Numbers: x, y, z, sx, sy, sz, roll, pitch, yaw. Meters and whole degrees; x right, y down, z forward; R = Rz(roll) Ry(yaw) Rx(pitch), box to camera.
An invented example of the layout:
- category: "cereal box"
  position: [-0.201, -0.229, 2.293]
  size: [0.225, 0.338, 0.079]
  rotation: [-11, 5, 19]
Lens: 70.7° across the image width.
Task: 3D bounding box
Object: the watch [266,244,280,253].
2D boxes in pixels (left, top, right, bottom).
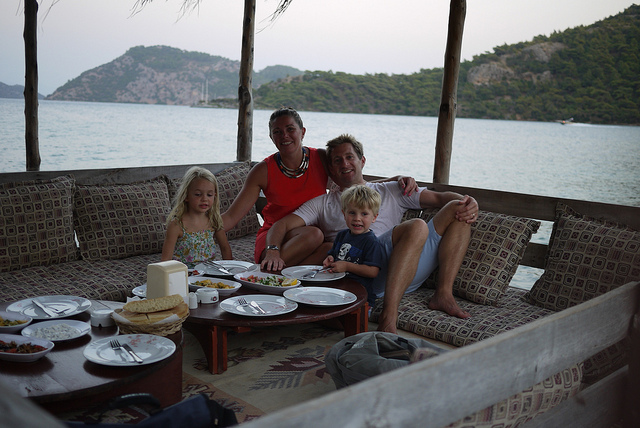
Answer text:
- category: "watch"
  position: [-0.326, 0.241, 3.099]
  size: [0.081, 0.042, 0.111]
  rotation: [1, 15, -10]

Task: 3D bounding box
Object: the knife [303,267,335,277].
- category: "knife"
  position: [-0.024, 0.345, 2.683]
  size: [0.056, 0.012, 0.214]
  rotation: [20, 16, 32]

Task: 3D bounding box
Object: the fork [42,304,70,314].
- category: "fork"
  position: [-1.182, 0.437, 2.051]
  size: [0.120, 0.018, 0.019]
  rotation: [3, 17, 30]

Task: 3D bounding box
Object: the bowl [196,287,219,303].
- category: "bowl"
  position: [-0.579, 0.426, 2.316]
  size: [0.106, 0.062, 0.060]
  rotation: [0, 16, -14]

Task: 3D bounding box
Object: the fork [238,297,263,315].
- category: "fork"
  position: [-0.347, 0.468, 2.241]
  size: [0.017, 0.017, 0.121]
  rotation: [-24, 34, -30]

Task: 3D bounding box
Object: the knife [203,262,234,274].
- category: "knife"
  position: [-0.607, 0.329, 2.685]
  size: [0.133, 0.013, 0.019]
  rotation: [23, 5, 30]

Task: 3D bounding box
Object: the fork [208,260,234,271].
- category: "fork"
  position: [-0.593, 0.320, 2.719]
  size: [0.165, 0.054, 0.012]
  rotation: [26, 23, -37]

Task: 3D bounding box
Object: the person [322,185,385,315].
- category: "person"
  position: [0.170, 0.241, 2.806]
  size: [0.386, 0.790, 0.373]
  rotation: [-1, -5, -3]

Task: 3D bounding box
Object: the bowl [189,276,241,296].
- category: "bowl"
  position: [-0.573, 0.384, 2.436]
  size: [0.257, 0.043, 0.114]
  rotation: [4, 11, 6]

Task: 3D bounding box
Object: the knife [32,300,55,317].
- category: "knife"
  position: [-1.267, 0.427, 2.062]
  size: [0.206, 0.008, 0.048]
  rotation: [20, 28, 34]

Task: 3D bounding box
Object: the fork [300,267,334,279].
- category: "fork"
  position: [-0.014, 0.350, 2.650]
  size: [0.074, 0.045, 0.211]
  rotation: [16, 19, 39]

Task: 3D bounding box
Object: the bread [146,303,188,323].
- category: "bread"
  position: [-0.634, 0.428, 1.910]
  size: [0.174, 0.042, 0.066]
  rotation: [-9, 19, -40]
